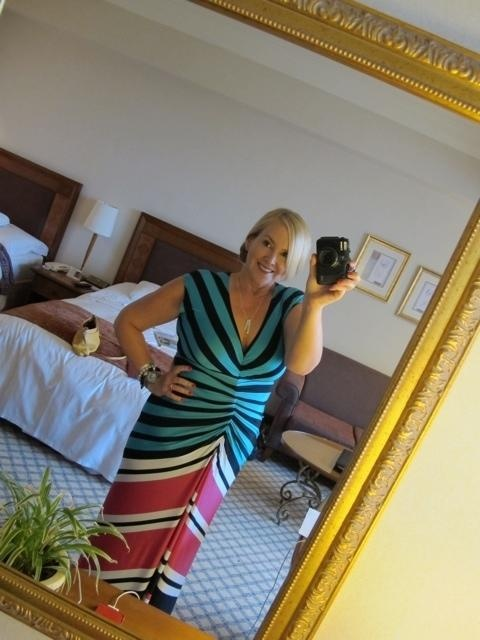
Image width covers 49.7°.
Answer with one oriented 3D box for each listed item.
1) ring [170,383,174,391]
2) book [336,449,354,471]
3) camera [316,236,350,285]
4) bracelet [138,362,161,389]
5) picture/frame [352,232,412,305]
[{"bbox_3d":[-0.132,0.129,1.009,0.010,0.012,0.004,-4,2,-11],"label":"ring"},{"bbox_3d":[0.188,0.249,0.929,0.039,0.034,0.009,12,-7,33],"label":"book"},{"bbox_3d":[0.160,-0.107,0.920,0.063,0.079,0.025,0,4,21],"label":"camera"},{"bbox_3d":[-0.176,0.105,0.999,0.037,0.045,0.024,11,5,-1],"label":"bracelet"},{"bbox_3d":[0.251,-0.091,0.900,0.097,0.107,0.004,27,4,15],"label":"picture/frame"}]
